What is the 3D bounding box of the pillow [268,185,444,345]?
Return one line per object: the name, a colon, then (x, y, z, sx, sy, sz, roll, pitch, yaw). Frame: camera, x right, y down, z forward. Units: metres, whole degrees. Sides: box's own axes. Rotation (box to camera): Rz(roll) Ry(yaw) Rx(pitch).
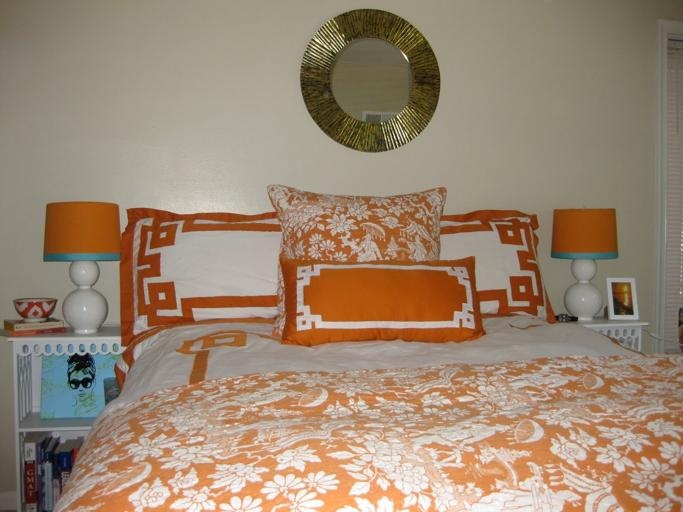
pillow: (0.055, 0.048, 1.983, 0.644, 0.514, 0.211, 0, -25, -10)
